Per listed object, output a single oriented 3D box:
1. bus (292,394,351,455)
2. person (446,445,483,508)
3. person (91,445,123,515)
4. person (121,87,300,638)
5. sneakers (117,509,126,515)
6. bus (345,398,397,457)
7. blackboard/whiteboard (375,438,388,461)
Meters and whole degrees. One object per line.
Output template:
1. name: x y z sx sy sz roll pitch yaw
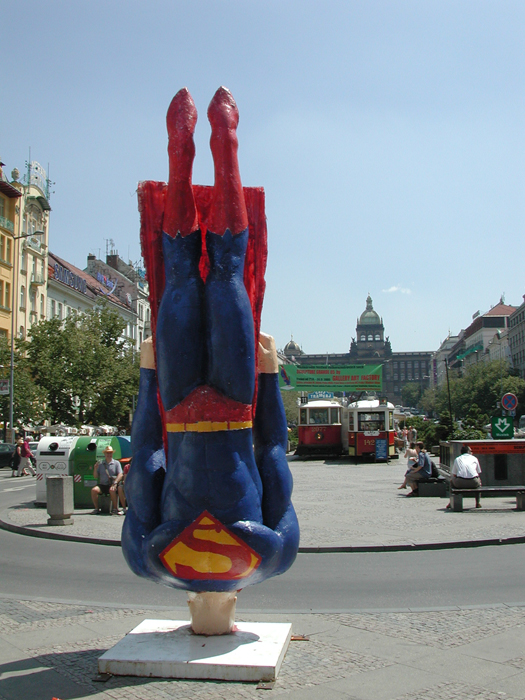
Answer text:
1. bus: 3.111 4.039 43.189 2.266 2.726 6.228 -1 -8 8
2. person: 4.204 2.648 17.971 0.869 1.213 0.847 20 -23 -41
3. person: -2.980 2.577 17.114 0.933 1.290 0.544 -7 -8 42
4. person: -0.432 -0.059 6.594 1.289 3.919 0.919 -2 -6 2
5. sneakers: -2.772 3.207 17.133 0.137 0.160 0.162 -2 -20 6
6. bus: 5.383 4.023 41.628 2.405 2.422 5.509 -2 -10 10
7. blackboard/whiteboard: 5.297 4.500 38.489 0.609 1.001 0.927 -3 -6 6
